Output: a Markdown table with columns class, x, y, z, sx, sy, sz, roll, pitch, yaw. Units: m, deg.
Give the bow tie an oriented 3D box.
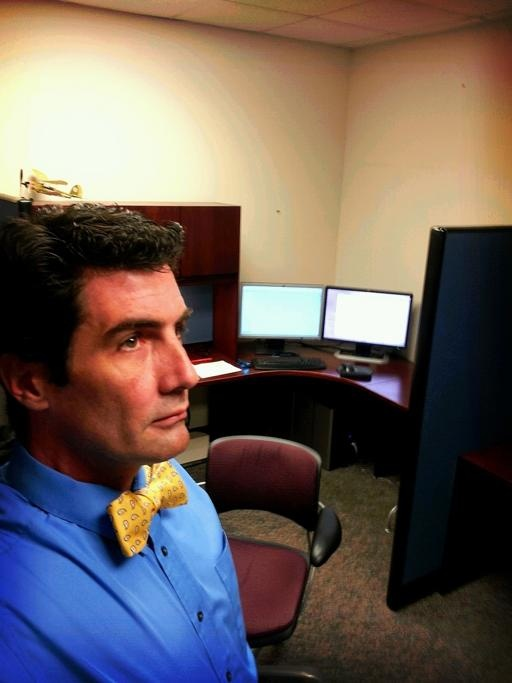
| class | x | y | z | sx | sy | sz | roll | pitch | yaw |
| --- | --- | --- | --- | --- | --- | --- | --- | --- | --- |
| bow tie | -0.156 | 0.234 | 0.830 | 0.076 | 0.077 | 0.208 | 7 | 12 | 16 |
